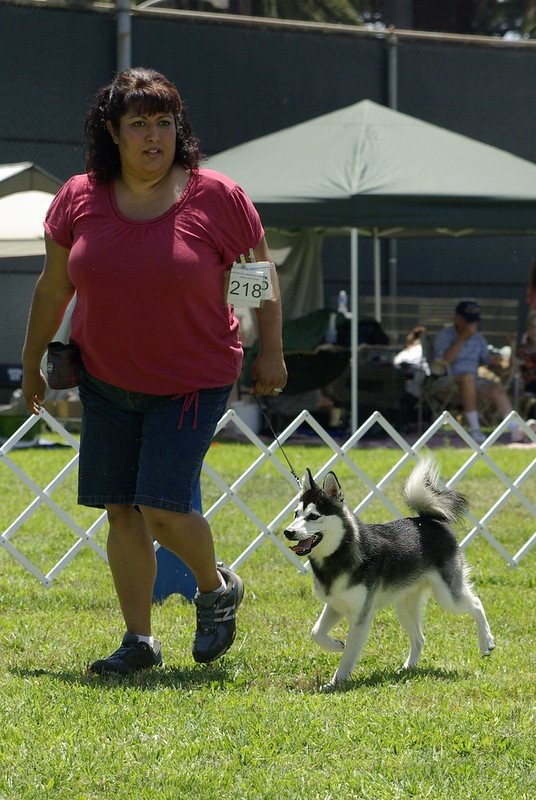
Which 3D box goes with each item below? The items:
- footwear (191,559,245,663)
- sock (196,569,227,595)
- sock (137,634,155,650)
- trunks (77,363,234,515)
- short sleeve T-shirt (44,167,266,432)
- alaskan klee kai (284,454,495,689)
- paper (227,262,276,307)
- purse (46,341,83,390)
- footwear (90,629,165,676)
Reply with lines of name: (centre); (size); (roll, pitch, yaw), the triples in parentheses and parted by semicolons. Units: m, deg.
footwear: (-0.130, 0.715, 3.863); (0.129, 0.349, 0.175); (8, 1, 26)
sock: (-0.182, 0.598, 3.820); (0.038, 0.109, 0.046); (10, -23, 19)
sock: (-0.394, 0.800, 3.863); (0.051, 0.044, 0.039); (-18, -7, 10)
trunks: (-0.384, 0.066, 3.803); (0.471, 0.585, 0.350); (3, -4, 29)
short sleeve T-shirt: (-0.347, -0.368, 3.660); (0.685, 0.563, 0.327); (2, 1, -11)
alaskan klee kai: (0.463, 0.592, 4.190); (0.879, 0.695, 0.401); (1, 1, -45)
paper: (-0.056, -0.368, 3.720); (0.150, 0.138, 0.042); (-1, -5, -21)
purse: (-0.645, -0.110, 3.744); (0.142, 0.183, 0.104); (1, 14, -1)
footwear: (-0.445, 0.835, 3.860); (0.087, 0.107, 0.260); (2, 2, 41)
